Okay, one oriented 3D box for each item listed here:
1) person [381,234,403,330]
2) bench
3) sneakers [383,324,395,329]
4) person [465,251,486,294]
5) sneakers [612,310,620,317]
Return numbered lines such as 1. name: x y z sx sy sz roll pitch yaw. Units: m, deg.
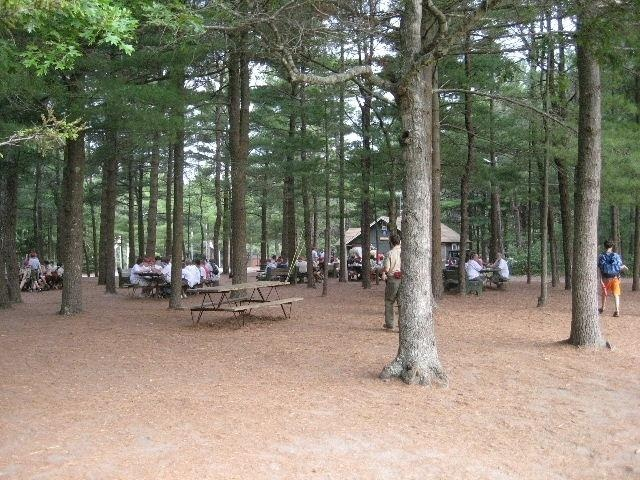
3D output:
1. person: 1.616 0.953 15.776 0.431 1.550 0.814 -2 -2 4
2. bench: -1.959 1.824 18.217 2.643 0.362 4.967 -2 -3 -4
3. sneakers: 1.557 1.949 16.036 0.252 0.111 0.102 11 11 44
4. person: 5.491 1.206 24.950 0.639 1.139 1.996 -3 -2 13
5. sneakers: 7.449 1.846 17.729 0.138 0.159 0.141 3 2 19
